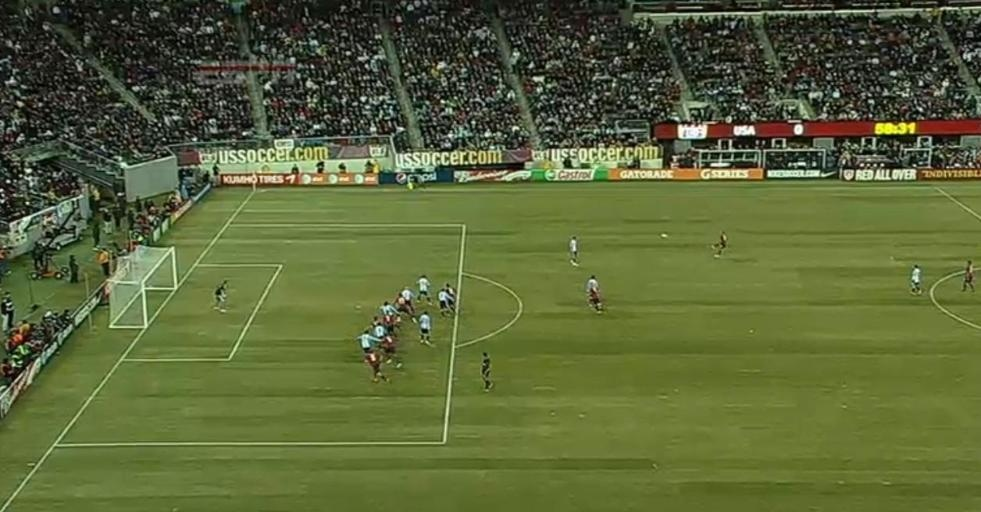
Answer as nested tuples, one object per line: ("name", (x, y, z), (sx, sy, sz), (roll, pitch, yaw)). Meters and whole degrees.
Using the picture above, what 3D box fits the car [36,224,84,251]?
("car", (-42.623, -1.892, 107.565), (2.310, 1.111, 3.265), (26, 31, 20))
